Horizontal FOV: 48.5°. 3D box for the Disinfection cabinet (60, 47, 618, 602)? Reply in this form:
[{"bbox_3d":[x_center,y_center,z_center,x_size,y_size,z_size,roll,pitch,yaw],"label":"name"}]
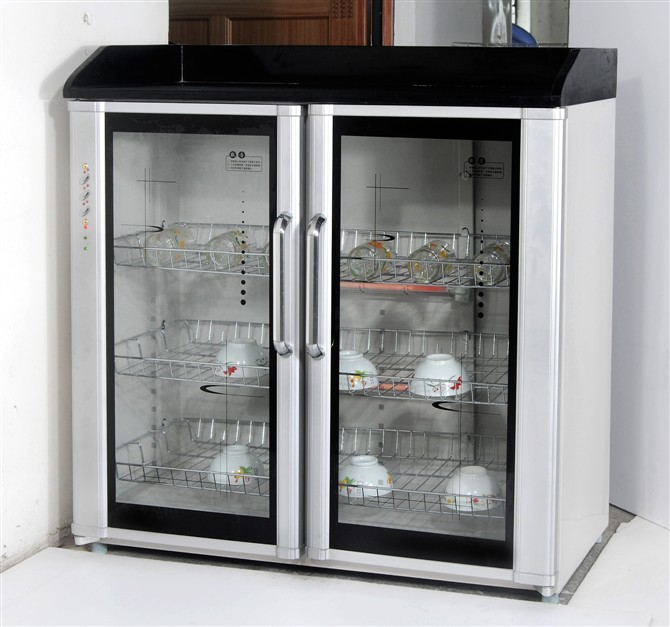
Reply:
[{"bbox_3d":[0.033,-0.011,1.930,1.399,1.241,0.561,0,0,24],"label":"Disinfection cabinet"}]

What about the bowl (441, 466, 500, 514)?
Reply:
[{"bbox_3d":[0.315,0.404,1.730,0.139,0.078,0.134,-2,2,0],"label":"bowl"}]

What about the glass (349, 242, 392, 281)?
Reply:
[{"bbox_3d":[0.077,-0.121,1.790,0.104,0.082,0.107,1,3,16],"label":"glass"}]

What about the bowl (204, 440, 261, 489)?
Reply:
[{"bbox_3d":[-0.253,0.382,1.902,0.177,0.083,0.166,3,-6,0],"label":"bowl"}]

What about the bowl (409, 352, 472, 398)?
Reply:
[{"bbox_3d":[0.242,0.148,1.757,0.110,0.058,0.103,-1,7,0],"label":"bowl"}]

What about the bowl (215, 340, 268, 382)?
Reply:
[{"bbox_3d":[-0.229,0.119,1.825,0.109,0.055,0.102,1,8,0],"label":"bowl"}]

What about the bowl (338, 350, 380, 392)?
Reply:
[{"bbox_3d":[0.046,0.133,1.716,0.097,0.054,0.090,0,2,0],"label":"bowl"}]

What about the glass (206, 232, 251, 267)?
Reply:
[{"bbox_3d":[-0.264,-0.166,1.860,0.085,0.091,0.085,3,10,11],"label":"glass"}]

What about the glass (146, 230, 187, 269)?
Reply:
[{"bbox_3d":[-0.414,-0.161,1.878,0.106,0.090,0.102,2,-3,-40],"label":"glass"}]

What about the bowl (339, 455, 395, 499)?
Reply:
[{"bbox_3d":[0.069,0.388,1.796,0.159,0.073,0.147,-2,8,0],"label":"bowl"}]
